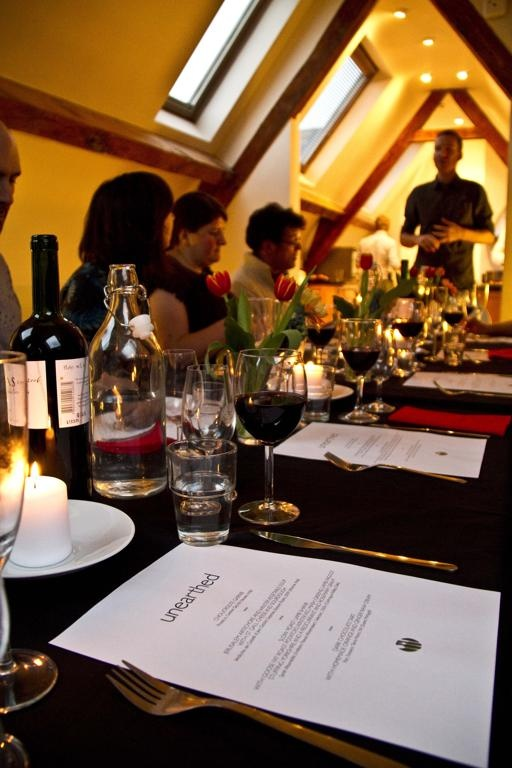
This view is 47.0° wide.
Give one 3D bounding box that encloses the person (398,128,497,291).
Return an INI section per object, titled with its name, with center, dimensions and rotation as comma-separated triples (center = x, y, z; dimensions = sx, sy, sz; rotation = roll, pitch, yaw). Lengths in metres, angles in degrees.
[person]
center = 1.707, -1.555, 5.301
dimensions = 0.797, 1.366, 0.815
rotation = 2, 8, 19
